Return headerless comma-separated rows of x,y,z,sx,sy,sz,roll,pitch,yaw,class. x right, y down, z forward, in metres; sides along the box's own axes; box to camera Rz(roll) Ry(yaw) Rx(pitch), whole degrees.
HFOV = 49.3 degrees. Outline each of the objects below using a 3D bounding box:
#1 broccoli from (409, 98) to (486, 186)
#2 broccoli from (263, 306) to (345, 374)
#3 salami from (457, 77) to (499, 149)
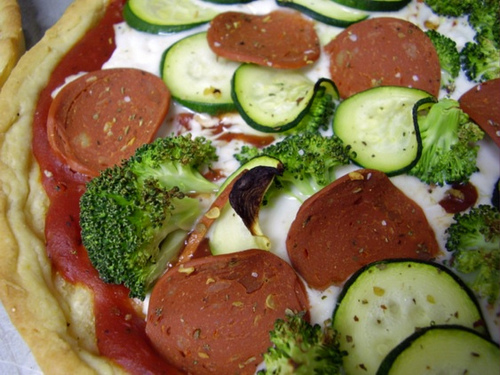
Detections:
1.102,-0.221,2.996,0.419,0.287,0.403,24,67,8,broccoli
0.249,0.815,2.691,0.321,0.165,0.329,22,65,2,broccoli
1.302,-0.414,3.066,0.172,0.353,0.306,0,31,2,salami
